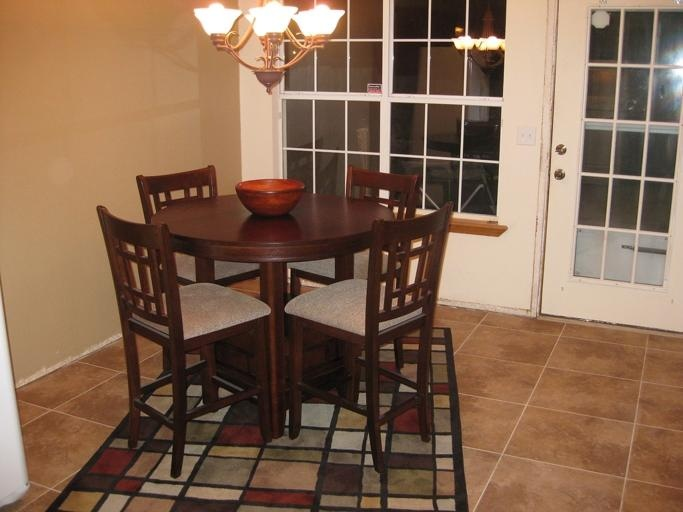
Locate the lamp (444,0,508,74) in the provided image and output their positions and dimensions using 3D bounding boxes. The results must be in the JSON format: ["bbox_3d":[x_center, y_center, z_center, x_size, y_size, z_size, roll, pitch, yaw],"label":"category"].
[{"bbox_3d":[1.065,-1.597,4.169,0.441,0.438,0.441,8,15,29],"label":"lamp"}]

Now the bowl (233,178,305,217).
[{"bbox_3d":[-0.412,-0.307,3.264,0.411,0.171,0.399,1,11,0],"label":"bowl"}]

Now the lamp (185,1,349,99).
[{"bbox_3d":[-0.522,-1.436,3.900,1.107,0.732,0.966,12,26,27],"label":"lamp"}]
